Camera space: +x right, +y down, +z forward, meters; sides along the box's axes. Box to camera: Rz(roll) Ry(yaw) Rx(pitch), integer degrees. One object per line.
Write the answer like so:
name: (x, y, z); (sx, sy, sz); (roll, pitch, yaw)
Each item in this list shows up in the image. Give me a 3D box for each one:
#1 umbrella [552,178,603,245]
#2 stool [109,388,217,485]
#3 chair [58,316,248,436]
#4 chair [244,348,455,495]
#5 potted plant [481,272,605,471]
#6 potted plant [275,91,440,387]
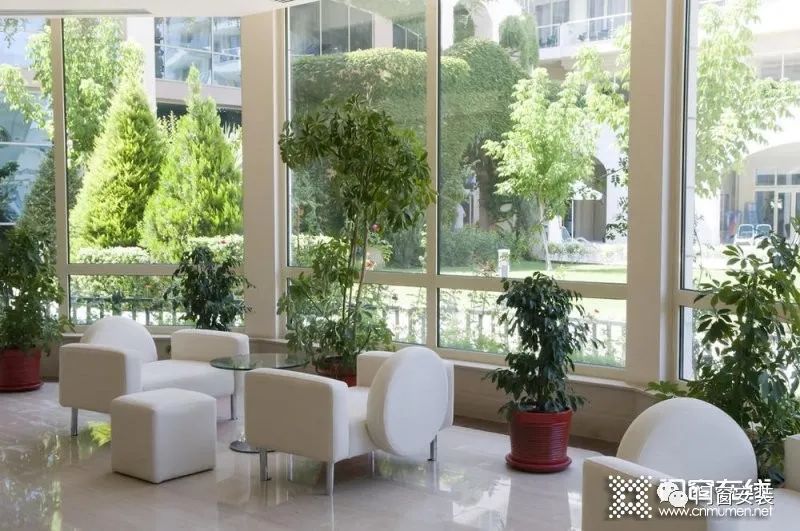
umbrella: (1.833, -0.557, 6.887); (0.505, 0.621, 0.512); (-4, 6, -35)
stool: (-1.968, 1.381, 5.858); (0.710, 0.765, 0.738); (-1, -3, 23)
chair: (-2.510, 0.646, 6.735); (1.169, 1.140, 1.645); (1, 2, 32)
chair: (-0.363, 1.220, 6.025); (1.266, 1.128, 1.720); (2, 0, 39)
potted plant: (1.300, 0.860, 6.103); (0.896, 1.684, 1.085); (3, 10, 17)
potted plant: (-0.533, -0.289, 7.115); (1.480, 3.042, 2.047); (-3, 10, -14)
